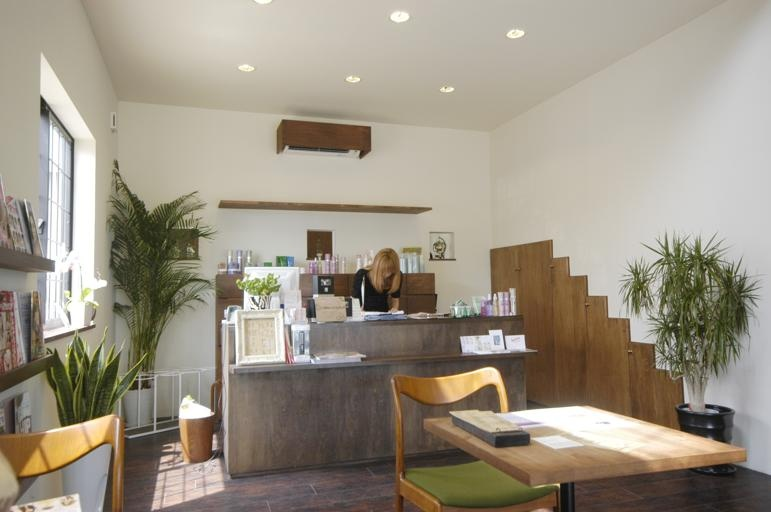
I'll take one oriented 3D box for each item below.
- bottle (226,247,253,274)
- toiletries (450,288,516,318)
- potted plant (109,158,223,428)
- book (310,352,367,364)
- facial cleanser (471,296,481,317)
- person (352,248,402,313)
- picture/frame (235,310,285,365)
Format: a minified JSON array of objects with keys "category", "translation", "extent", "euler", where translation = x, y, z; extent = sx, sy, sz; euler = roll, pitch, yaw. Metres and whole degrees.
[{"category":"bottle","translation":[-1.966,0.067,7.171],"extent":[0.316,0.306,0.225],"euler":[-1,3,-16]},{"category":"toiletries","translation":[1.015,0.503,5.706],"extent":[0.672,0.284,0.409],"euler":[-2,3,-33]},{"category":"potted plant","translation":[-2.836,0.185,6.732],"extent":[1.131,2.704,0.819],"euler":[-2,4,-27]},{"category":"book","translation":[-0.438,0.959,5.092],"extent":[0.546,0.087,0.261],"euler":[-1,3,-18]},{"category":"facial cleanser","translation":[0.985,0.535,5.734],"extent":[0.090,0.185,0.163],"euler":[0,3,7]},{"category":"person","translation":[-0.107,0.290,6.201],"extent":[0.546,0.739,0.587],"euler":[0,3,12]},{"category":"picture/frame","translation":[-1.144,0.738,4.833],"extent":[0.463,0.537,0.073],"euler":[0,-6,-24]}]
